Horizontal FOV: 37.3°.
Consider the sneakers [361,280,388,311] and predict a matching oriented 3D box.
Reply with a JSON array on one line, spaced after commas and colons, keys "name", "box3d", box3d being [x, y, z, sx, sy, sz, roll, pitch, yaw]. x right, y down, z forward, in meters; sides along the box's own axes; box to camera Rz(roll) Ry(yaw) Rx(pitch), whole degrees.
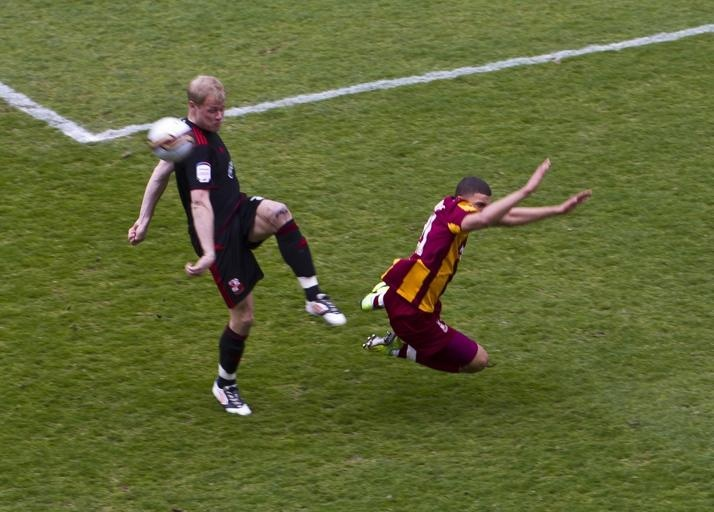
[{"name": "sneakers", "box3d": [0.124, 0.286, 7.216, 0.142, 0.110, 0.310, 26, 17, 9]}]
